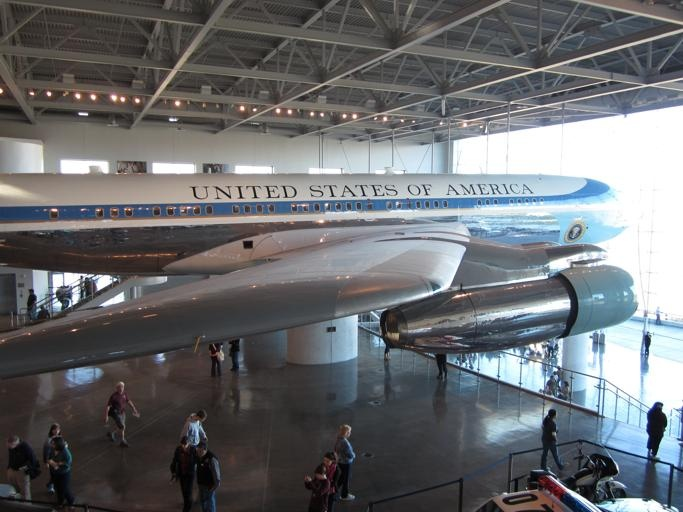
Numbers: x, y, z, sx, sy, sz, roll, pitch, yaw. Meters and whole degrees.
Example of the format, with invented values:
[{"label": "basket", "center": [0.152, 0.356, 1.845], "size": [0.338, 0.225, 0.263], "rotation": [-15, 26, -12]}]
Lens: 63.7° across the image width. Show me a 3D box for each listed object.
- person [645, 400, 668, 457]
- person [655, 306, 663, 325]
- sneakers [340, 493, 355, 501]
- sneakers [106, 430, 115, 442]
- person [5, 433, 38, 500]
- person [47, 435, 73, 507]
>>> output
[{"label": "person", "center": [7.471, 4.158, 13.110], "size": [0.409, 1.429, 1.031], "rotation": [11, 18, 29]}, {"label": "person", "center": [17.575, 3.258, 30.432], "size": [0.390, 0.850, 0.845], "rotation": [11, 17, 28]}, {"label": "sneakers", "center": [0.136, 4.996, 11.427], "size": [0.234, 0.065, 0.106], "rotation": [-2, 6, -10]}, {"label": "sneakers", "center": [-5.543, 4.304, 13.217], "size": [0.253, 0.094, 0.293], "rotation": [3, 3, -20]}, {"label": "person", "center": [-6.344, 4.262, 10.957], "size": [0.499, 1.553, 0.467], "rotation": [-11, 21, -37]}, {"label": "person", "center": [-5.641, 4.295, 11.025], "size": [0.394, 1.551, 0.452], "rotation": [-6, 18, -25]}]
